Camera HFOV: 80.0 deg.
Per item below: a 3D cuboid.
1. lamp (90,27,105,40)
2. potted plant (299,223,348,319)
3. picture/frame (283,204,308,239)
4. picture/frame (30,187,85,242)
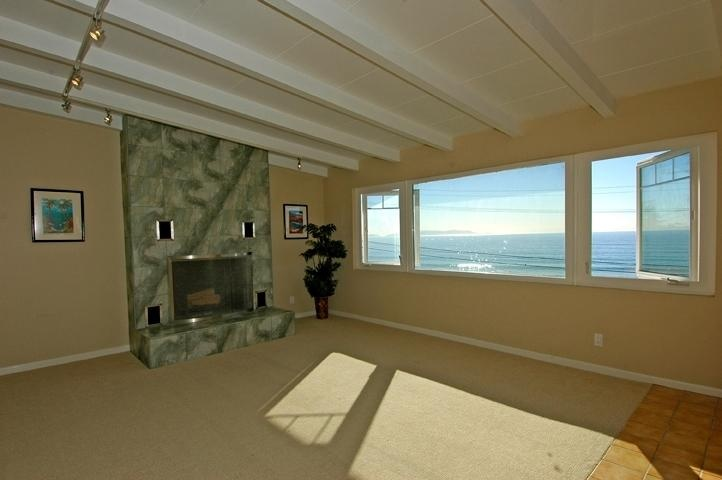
[{"bbox_3d":[-2.417,-1.896,3.950,0.149,0.122,0.072,0,1,19],"label":"lamp"},{"bbox_3d":[-0.712,0.592,8.302,0.972,1.804,0.699,1,1,23],"label":"potted plant"},{"bbox_3d":[-1.293,-0.365,8.346,0.695,0.860,0.066,-1,-2,-43],"label":"picture/frame"},{"bbox_3d":[-4.310,-0.366,6.067,0.786,1.017,0.037,-2,-2,-43],"label":"picture/frame"}]
